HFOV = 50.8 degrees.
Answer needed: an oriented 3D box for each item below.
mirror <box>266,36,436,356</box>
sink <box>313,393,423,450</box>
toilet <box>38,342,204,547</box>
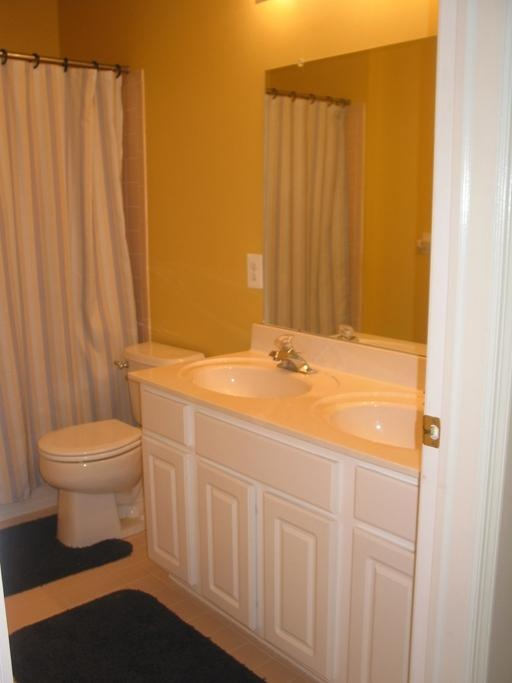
[{"bbox_3d":[0.303,-0.474,1.674,0.039,1.073,0.721,-10,16,-34],"label":"mirror"},{"bbox_3d":[0.295,0.215,1.444,0.265,0.103,0.227,1,8,6],"label":"sink"},{"bbox_3d":[-0.622,0.449,2.345,0.538,0.803,0.354,-7,17,-41],"label":"toilet"}]
